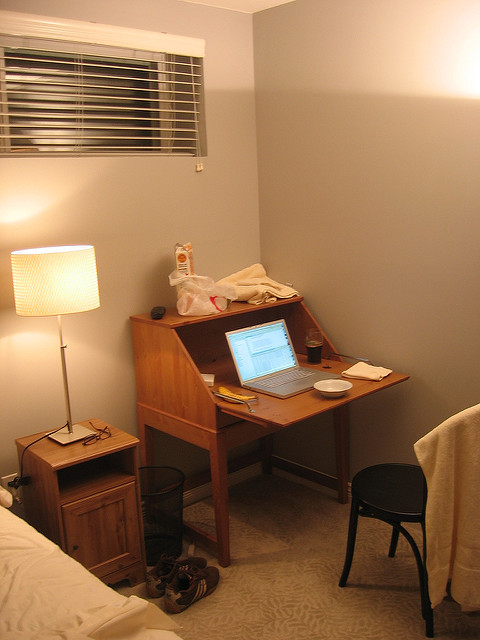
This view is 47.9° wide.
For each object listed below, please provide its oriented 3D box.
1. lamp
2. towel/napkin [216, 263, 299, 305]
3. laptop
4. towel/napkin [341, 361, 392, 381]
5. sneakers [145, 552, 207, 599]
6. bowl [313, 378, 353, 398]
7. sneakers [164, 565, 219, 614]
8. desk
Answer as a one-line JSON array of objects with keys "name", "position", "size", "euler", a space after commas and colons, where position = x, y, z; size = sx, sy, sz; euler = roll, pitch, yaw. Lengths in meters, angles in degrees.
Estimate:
[{"name": "lamp", "position": [-0.636, 0.085, 1.926], "size": [0.268, 0.694, 0.329], "euler": [-6, 8, -20]}, {"name": "towel/napkin", "position": [0.070, -0.156, 2.572], "size": [0.251, 0.080, 0.246], "euler": [-20, 30, -35]}, {"name": "laptop", "position": [0.181, 0.149, 2.227], "size": [0.394, 0.204, 0.344], "euler": [-10, 16, -37]}, {"name": "towel/napkin", "position": [0.532, 0.217, 2.264], "size": [0.172, 0.038, 0.176], "euler": [2, 9, 36]}, {"name": "sneakers", "position": [-0.238, 0.914, 2.039], "size": [0.095, 0.107, 0.262], "euler": [7, 18, 32]}, {"name": "bowl", "position": [0.350, 0.254, 2.045], "size": [0.086, 0.021, 0.080], "euler": [-4, 19, 2]}, {"name": "sneakers", "position": [-0.179, 0.945, 1.951], "size": [0.083, 0.099, 0.228], "euler": [13, 23, 36]}, {"name": "desk", "position": [0.138, 0.449, 2.382], "size": [0.879, 0.937, 0.852], "euler": [7, 13, 41]}]
